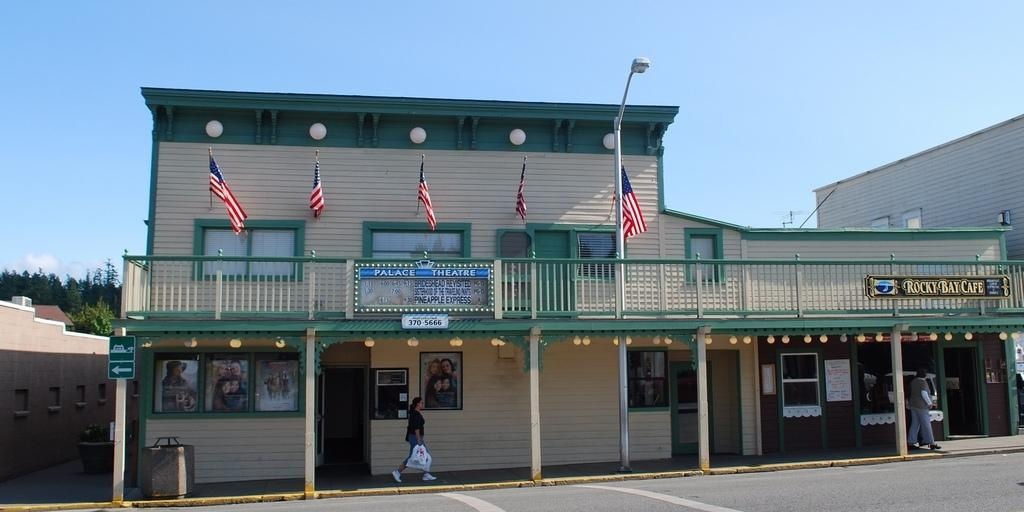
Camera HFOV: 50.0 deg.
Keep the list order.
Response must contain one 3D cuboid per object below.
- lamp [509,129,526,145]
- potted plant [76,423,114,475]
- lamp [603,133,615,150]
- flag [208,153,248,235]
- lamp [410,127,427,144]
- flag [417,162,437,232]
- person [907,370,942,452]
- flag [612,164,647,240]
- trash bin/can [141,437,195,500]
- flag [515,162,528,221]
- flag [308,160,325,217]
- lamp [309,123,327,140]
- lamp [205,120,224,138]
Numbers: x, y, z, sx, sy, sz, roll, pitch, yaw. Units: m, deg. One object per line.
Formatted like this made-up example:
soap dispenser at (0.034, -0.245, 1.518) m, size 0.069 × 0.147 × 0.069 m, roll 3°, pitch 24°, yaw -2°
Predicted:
lamp at (0.303, -4.781, 44.070) m, size 0.692 × 0.645 × 0.249 m, roll -1°, pitch -10°, yaw -2°
potted plant at (-16.512, 7.786, 43.872) m, size 1.335 × 1.900 × 0.705 m, roll 0°, pitch -10°, yaw -6°
lamp at (3.954, -4.648, 44.268) m, size 0.454 × 0.669 × 0.361 m, roll -3°, pitch -10°, yaw 11°
flag at (-10.950, -2.525, 42.549) m, size 1.362 × 3.285 × 1.557 m, roll 1°, pitch -10°, yaw -12°
lamp at (-3.678, -4.788, 43.724) m, size 0.807 × 0.654 × 0.175 m, roll 2°, pitch -1°, yaw -8°
flag at (-3.283, -2.531, 43.324) m, size 0.702 × 2.909 × 1.143 m, roll -1°, pitch -10°, yaw -4°
person at (16.436, 6.093, 43.637) m, size 1.196 × 3.098 × 1.317 m, roll 8°, pitch -10°, yaw -29°
flag at (4.786, -2.055, 42.682) m, size 1.179 × 2.626 × 1.067 m, roll 3°, pitch 0°, yaw 27°
trash bin/can at (-12.653, 7.955, 40.876) m, size 1.714 × 1.975 × 1.434 m, roll 1°, pitch -7°, yaw -11°
flag at (0.441, -2.688, 43.781) m, size 0.473 × 2.509 × 0.749 m, roll -1°, pitch -10°, yaw -5°
flag at (-7.574, -2.675, 43.084) m, size 0.626 × 2.226 × 0.895 m, roll 0°, pitch -10°, yaw -8°
lamp at (-7.609, -4.930, 43.461) m, size 0.663 × 0.673 × 0.307 m, roll 0°, pitch -10°, yaw -11°
lamp at (-11.623, -5.024, 43.185) m, size 0.651 × 0.685 × 0.279 m, roll 0°, pitch -10°, yaw -8°
